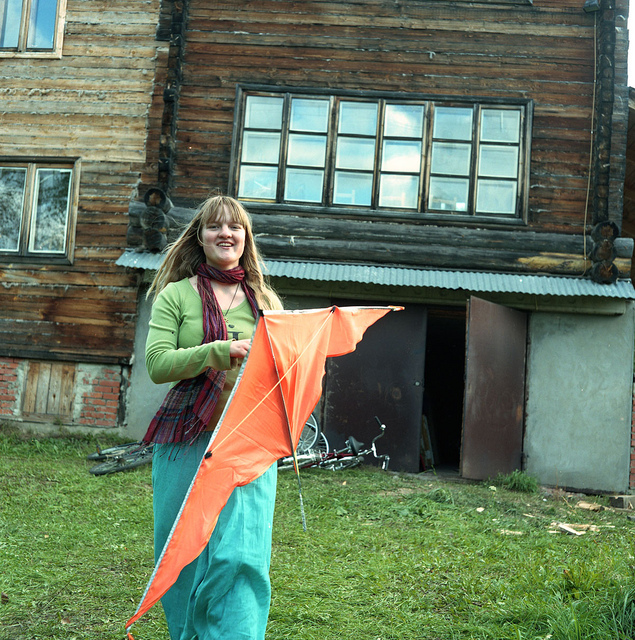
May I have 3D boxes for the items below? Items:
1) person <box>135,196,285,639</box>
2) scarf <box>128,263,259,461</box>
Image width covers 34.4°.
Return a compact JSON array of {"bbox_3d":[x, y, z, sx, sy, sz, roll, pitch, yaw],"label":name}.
[{"bbox_3d":[-0.715,0.621,6.695,0.879,2.841,1.076,-1,10,-7],"label":"person"},{"bbox_3d":[-0.855,0.276,6.678,0.710,1.351,0.599,-1,20,-29],"label":"scarf"}]
